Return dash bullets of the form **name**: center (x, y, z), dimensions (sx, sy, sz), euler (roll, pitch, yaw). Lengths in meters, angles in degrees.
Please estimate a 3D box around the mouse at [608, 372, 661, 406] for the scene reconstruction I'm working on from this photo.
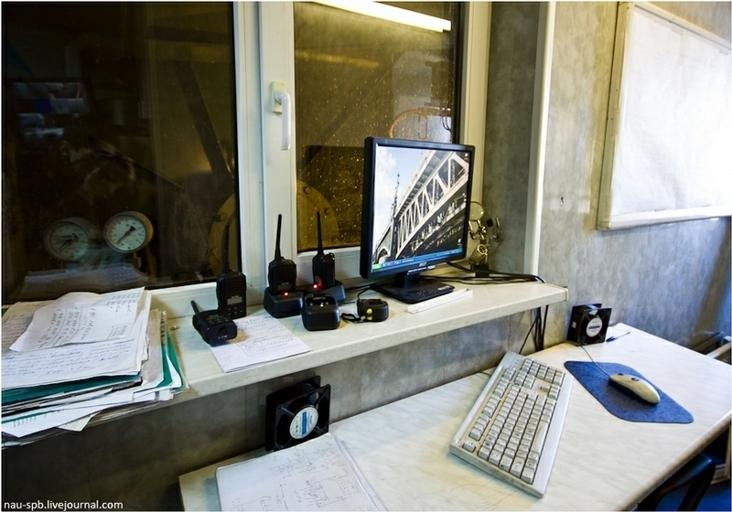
- **mouse**: center (0.923, 0.456, 1.854), dimensions (0.072, 0.041, 0.137), euler (15, 0, -12)

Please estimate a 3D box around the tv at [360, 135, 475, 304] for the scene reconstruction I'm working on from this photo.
- **tv**: center (0.190, -0.131, 1.914), dimensions (0.209, 0.560, 0.568), euler (12, 17, 43)

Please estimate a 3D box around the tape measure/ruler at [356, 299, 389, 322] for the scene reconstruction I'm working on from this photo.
- **tape measure/ruler**: center (0.023, 0.174, 1.720), dimensions (0.101, 0.058, 0.072), euler (-2, 14, 2)

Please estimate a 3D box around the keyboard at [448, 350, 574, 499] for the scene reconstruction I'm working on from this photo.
- **keyboard**: center (0.461, 0.523, 1.676), dimensions (0.253, 0.077, 0.525), euler (17, 36, 25)

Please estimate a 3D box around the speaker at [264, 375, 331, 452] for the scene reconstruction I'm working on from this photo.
- **speaker**: center (-0.212, 0.485, 1.630), dimensions (0.252, 0.242, 0.095), euler (-4, 9, -40)

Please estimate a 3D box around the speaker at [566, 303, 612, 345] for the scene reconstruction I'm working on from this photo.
- **speaker**: center (0.940, 0.292, 2.246), dimensions (0.161, 0.155, 0.059), euler (-5, 14, -16)
